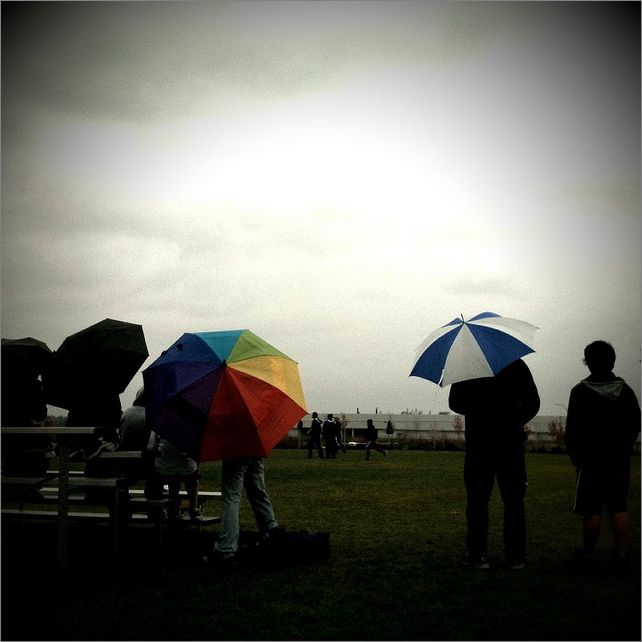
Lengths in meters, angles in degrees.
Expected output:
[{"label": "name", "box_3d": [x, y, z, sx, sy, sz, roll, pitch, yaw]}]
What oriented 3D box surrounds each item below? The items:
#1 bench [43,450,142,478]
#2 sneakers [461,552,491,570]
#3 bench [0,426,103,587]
[{"label": "bench", "box_3d": [-2.544, 1.602, 8.974, 0.845, 0.211, 0.554, -1, -14, 7]}, {"label": "sneakers", "box_3d": [1.548, 2.426, 8.059, 0.107, 0.139, 0.310, 1, 3, -29]}, {"label": "bench", "box_3d": [-2.645, 1.734, 8.124, 1.366, 1.312, 1.356, 1, -2, -18]}]
